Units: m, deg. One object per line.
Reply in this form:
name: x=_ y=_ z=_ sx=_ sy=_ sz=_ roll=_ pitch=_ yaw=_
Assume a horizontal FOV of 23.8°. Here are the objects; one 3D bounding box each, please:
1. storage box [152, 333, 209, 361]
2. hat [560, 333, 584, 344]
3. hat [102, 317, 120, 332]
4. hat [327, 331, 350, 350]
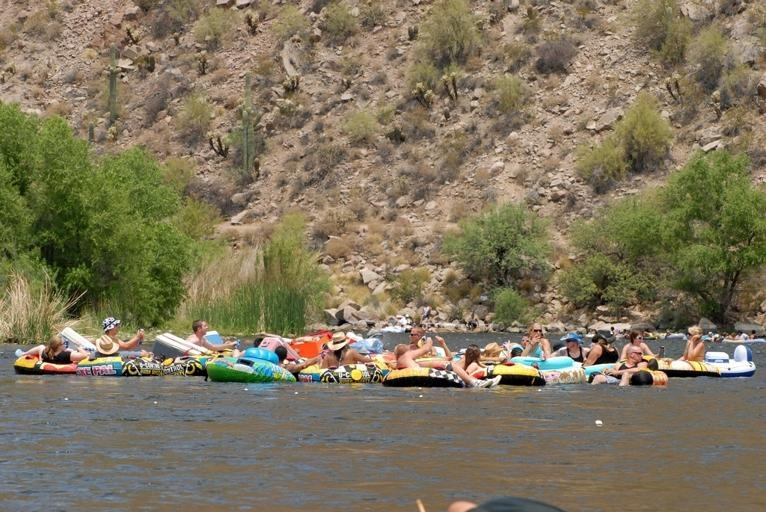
storage box: x=-9.186 y=4.209 z=82.027 sx=1.625 sy=0.563 sz=1.263 roll=14 pitch=-2 yaw=26
hat: x=8.774 y=3.840 z=84.709 sx=0.697 sy=0.388 sz=0.824 roll=2 pitch=-6 yaw=11
hat: x=-12.230 y=3.142 z=81.893 sx=0.818 sy=0.447 sz=0.617 roll=-20 pitch=20 yaw=3
hat: x=-1.993 y=3.809 z=80.861 sx=0.862 sy=0.771 sz=0.644 roll=-3 pitch=2 yaw=-10
